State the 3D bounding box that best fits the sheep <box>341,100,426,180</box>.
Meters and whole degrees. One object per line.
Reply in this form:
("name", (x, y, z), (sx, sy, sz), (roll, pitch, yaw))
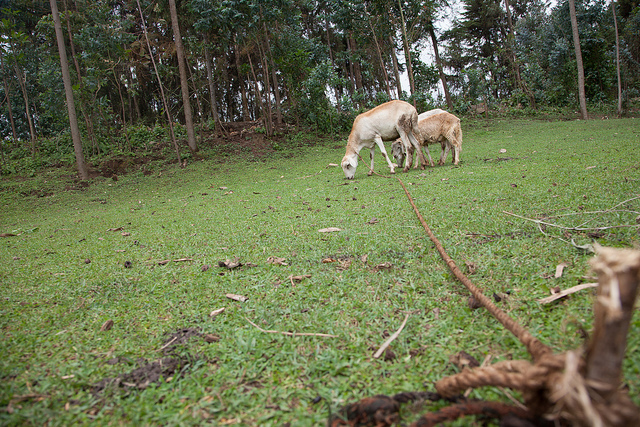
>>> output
("sheep", (1.782, -2.116, 12.038), (2.181, 1.883, 1.369), (-3, 14, 6))
